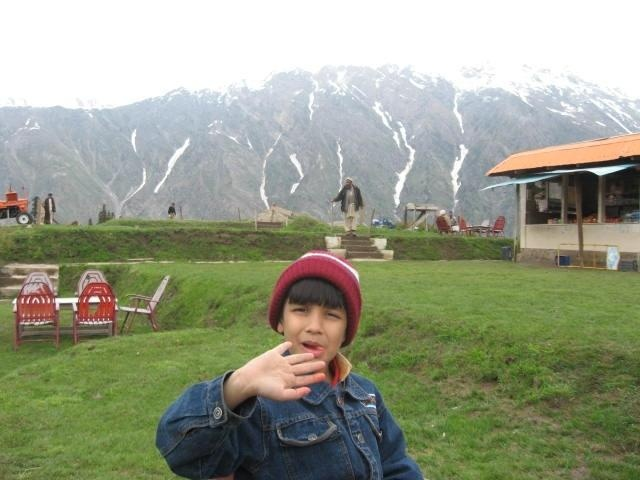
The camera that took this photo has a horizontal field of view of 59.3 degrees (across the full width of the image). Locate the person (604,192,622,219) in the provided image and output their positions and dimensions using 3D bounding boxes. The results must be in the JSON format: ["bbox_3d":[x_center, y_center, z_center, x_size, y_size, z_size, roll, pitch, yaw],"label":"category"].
[{"bbox_3d":[11.758,-1.315,22.353,0.661,1.027,1.011,7,13,28],"label":"person"}]
